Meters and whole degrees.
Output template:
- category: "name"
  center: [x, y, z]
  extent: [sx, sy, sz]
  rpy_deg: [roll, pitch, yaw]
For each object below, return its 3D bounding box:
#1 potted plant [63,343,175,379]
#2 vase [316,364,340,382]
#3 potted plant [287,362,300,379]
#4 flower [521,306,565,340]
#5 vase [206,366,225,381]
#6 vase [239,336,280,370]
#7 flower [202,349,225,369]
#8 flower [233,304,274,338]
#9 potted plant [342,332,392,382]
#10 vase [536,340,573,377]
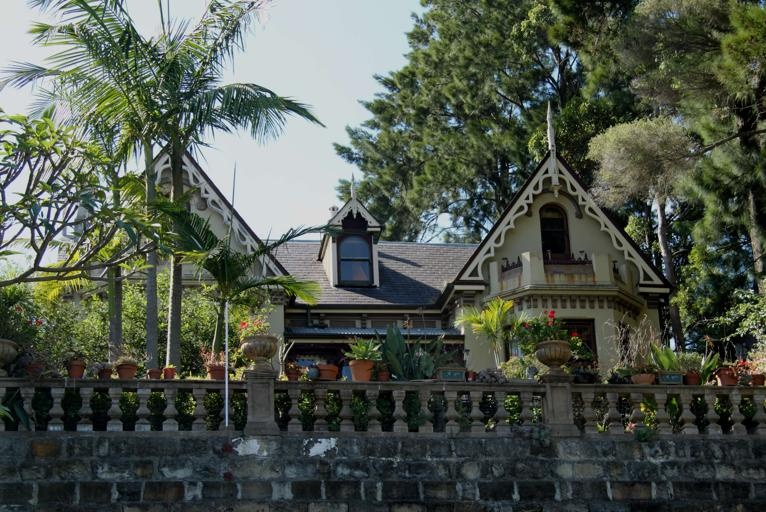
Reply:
- category: "potted plant"
  center: [-5.794, 2.252, 25.423]
  extent: [2.665, 1.054, 0.839]
  rpy_deg: [2, -13, -10]
- category: "vase"
  center: [-1.250, 2.608, 26.324]
  extent: [0.373, 0.276, 0.412]
  rpy_deg: [4, -23, -13]
- category: "potted plant"
  center: [-2.032, 2.574, 26.393]
  extent: [0.341, 0.429, 0.430]
  rpy_deg: [1, -19, -4]
- category: "flower"
  center: [3.976, 1.719, 28.623]
  extent: [0.826, 0.809, 0.798]
  rpy_deg: [-2, 1, 4]
- category: "vase"
  center: [-3.713, 2.571, 25.870]
  extent: [0.310, 0.216, 0.306]
  rpy_deg: [10, -17, -37]
- category: "vase"
  center: [-2.657, 2.125, 25.524]
  extent: [0.873, 0.772, 0.898]
  rpy_deg: [-1, -11, -15]
- category: "flower"
  center: [-3.877, 2.321, 26.576]
  extent: [0.549, 0.487, 0.681]
  rpy_deg: [0, -25, -1]
- category: "flower"
  center: [-3.115, 1.548, 27.607]
  extent: [1.091, 0.849, 1.093]
  rpy_deg: [-1, -6, 0]
- category: "potted plant"
  center: [-0.326, 2.436, 27.092]
  extent: [1.068, 1.253, 1.174]
  rpy_deg: [11, -30, -22]
- category: "vase"
  center: [3.848, 2.294, 26.397]
  extent: [0.764, 0.834, 0.766]
  rpy_deg: [15, -12, -37]
